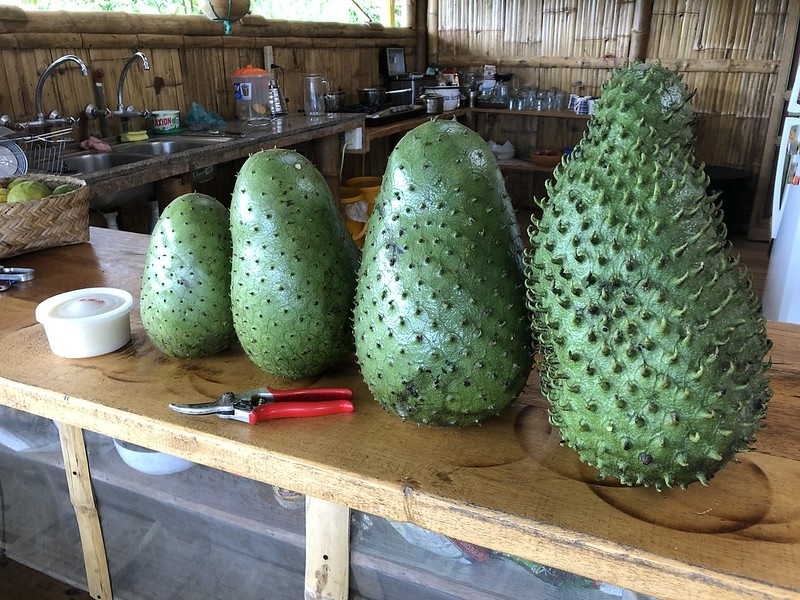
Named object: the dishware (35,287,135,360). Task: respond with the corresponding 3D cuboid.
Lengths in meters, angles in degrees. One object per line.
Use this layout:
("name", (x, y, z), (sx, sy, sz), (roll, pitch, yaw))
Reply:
("dishware", (-0.469, 0.033, 0.902), (0.130, 0.051, 0.118), (12, 23, 32))

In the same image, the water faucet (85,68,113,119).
("water faucet", (-1.196, -0.821, 2.488), (0.061, 0.219, 0.046), (4, -24, -30))

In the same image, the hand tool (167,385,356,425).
("hand tool", (-0.150, 0.124, 0.748), (0.280, 0.026, 0.062), (-1, 18, -5))

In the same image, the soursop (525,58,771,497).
("soursop", (0.249, -0.021, 0.634), (0.275, 0.422, 0.217), (12, 26, 25))

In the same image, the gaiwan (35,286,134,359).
("gaiwan", (-0.470, 0.030, 0.905), (0.131, 0.051, 0.120), (13, 23, 33))

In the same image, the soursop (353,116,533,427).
("soursop", (0.056, -0.031, 0.694), (0.188, 0.323, 0.148), (0, 24, 2))

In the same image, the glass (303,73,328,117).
("glass", (-0.459, -1.122, 3.392), (0.117, 0.207, 0.237), (-3, 21, -6))

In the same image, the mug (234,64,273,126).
("mug", (-0.724, -1.017, 3.078), (0.175, 0.274, 0.402), (-4, 21, -10))

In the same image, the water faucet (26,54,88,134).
("water faucet", (-1.238, -0.748, 2.237), (0.220, 0.267, 0.465), (-11, 22, -25))
